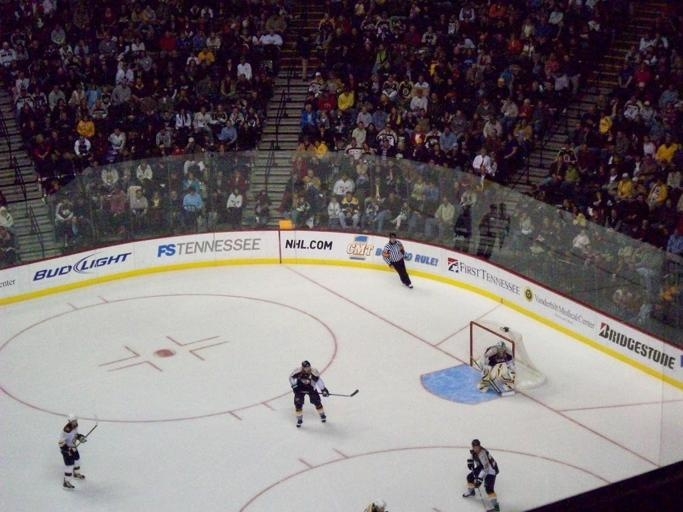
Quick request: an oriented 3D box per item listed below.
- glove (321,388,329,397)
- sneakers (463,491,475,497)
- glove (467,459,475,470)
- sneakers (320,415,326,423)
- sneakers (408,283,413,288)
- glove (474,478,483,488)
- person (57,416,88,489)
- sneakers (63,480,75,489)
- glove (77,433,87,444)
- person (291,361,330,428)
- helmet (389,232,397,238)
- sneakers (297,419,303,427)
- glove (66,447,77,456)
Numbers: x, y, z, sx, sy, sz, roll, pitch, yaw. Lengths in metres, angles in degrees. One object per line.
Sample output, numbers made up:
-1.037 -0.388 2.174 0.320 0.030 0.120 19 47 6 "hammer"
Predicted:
-0.397 3.326 20.240 0.154 0.244 0.235 -1 -1 1 "glove"
2.783 5.157 18.011 0.292 0.131 0.109 0 29 11 "sneakers"
2.753 4.458 17.720 0.150 0.242 0.228 -2 35 -1 "glove"
-0.443 4.008 20.438 0.118 0.207 0.184 -3 2 -45 "sneakers"
2.267 0.980 27.169 0.162 0.103 0.166 7 26 0 "sneakers"
2.948 4.892 17.823 0.156 0.207 0.188 -8 66 2 "glove"
-5.948 4.313 18.319 0.539 1.464 0.646 20 28 30 "person"
-6.032 5.029 18.332 0.271 0.161 0.168 4 25 -6 "sneakers"
-5.846 4.061 18.442 0.284 0.130 0.306 1 4 28 "glove"
-0.790 3.282 20.236 0.930 1.910 0.553 -3 27 -4 "person"
1.689 -0.606 27.013 0.174 0.243 0.220 -5 20 -9 "helmet"
-1.026 4.073 20.183 0.112 0.219 0.210 4 7 8 "sneakers"
-5.930 4.289 18.220 0.155 0.170 0.040 1 43 -23 "glove"
